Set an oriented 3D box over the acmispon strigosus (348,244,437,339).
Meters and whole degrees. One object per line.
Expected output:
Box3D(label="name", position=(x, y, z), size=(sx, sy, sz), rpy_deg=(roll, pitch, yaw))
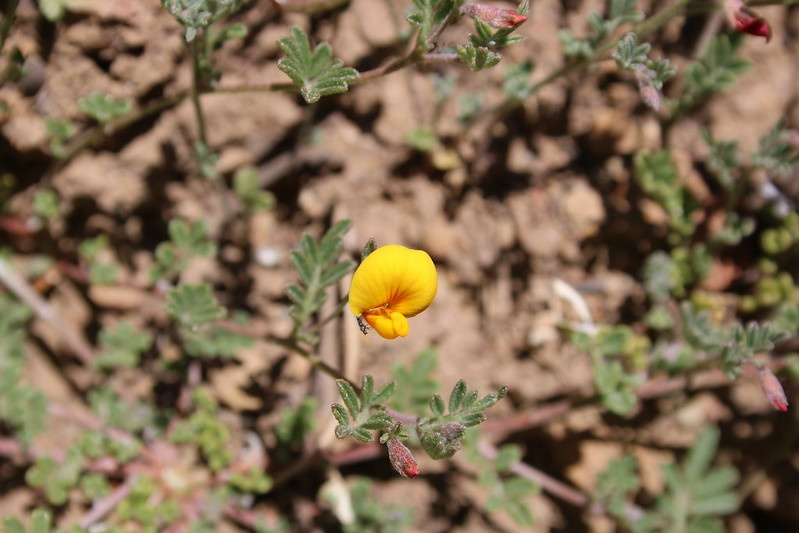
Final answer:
Box3D(label="acmispon strigosus", position=(-0.028, 0.099, 3.707), size=(0.327, 0.160, 0.393), rpy_deg=(31, 92, -7))
